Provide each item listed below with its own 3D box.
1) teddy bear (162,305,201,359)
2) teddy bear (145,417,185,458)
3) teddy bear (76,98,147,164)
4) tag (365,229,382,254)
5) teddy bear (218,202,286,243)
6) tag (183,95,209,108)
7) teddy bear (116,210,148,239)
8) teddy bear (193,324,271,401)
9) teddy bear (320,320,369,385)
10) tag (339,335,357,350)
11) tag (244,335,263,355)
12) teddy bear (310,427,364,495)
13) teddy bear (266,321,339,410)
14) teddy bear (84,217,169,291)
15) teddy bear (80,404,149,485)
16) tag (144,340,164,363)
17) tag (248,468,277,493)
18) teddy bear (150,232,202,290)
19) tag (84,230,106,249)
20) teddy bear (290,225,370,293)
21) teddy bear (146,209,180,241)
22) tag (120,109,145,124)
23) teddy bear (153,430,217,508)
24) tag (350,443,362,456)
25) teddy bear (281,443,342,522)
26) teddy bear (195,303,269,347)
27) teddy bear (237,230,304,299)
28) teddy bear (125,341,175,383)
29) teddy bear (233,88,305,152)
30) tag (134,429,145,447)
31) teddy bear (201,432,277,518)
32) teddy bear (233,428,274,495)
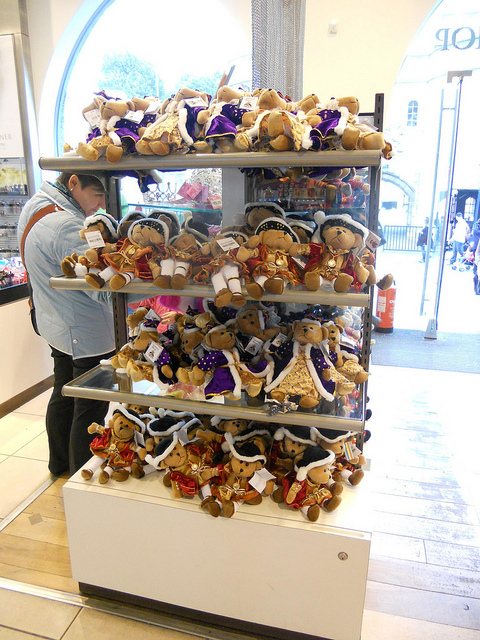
[{"bbox_3d":[-0.184,0.044,1.541,0.075,0.146,0.115,15,-28,-16],"label":"teddy bear"},{"bbox_3d":[-0.255,0.393,1.623,0.126,0.114,0.114,3,-16,7],"label":"teddy bear"},{"bbox_3d":[-0.329,-0.512,1.354,0.220,0.073,0.240,-1,41,13],"label":"teddy bear"},{"bbox_3d":[0.365,-0.217,1.340,0.042,0.054,0.018,36,-19,-11],"label":"tag"},{"bbox_3d":[0.038,-0.275,1.408,0.127,0.074,0.172,3,11,27],"label":"teddy bear"},{"bbox_3d":[-0.120,-0.581,1.324,0.056,0.057,0.014,-3,-27,-25],"label":"tag"},{"bbox_3d":[-0.335,-0.290,1.497,0.094,0.092,0.069,6,26,-22],"label":"teddy bear"},{"bbox_3d":[-0.023,0.124,1.418,0.229,0.235,0.123,-6,-15,-29],"label":"teddy bear"},{"bbox_3d":[0.311,0.090,1.468,0.181,0.202,0.142,2,13,16],"label":"teddy bear"},{"bbox_3d":[0.333,0.069,1.526,0.052,0.013,0.037,31,35,8],"label":"tag"},{"bbox_3d":[0.036,0.074,1.454,0.050,0.054,0.050,11,21,31],"label":"tag"},{"bbox_3d":[0.312,0.422,1.524,0.140,0.179,0.157,-6,13,-28],"label":"teddy bear"},{"bbox_3d":[0.176,0.139,1.381,0.198,0.227,0.125,10,-21,11],"label":"teddy bear"},{"bbox_3d":[-0.316,-0.185,1.366,0.224,0.186,0.119,-1,18,-2],"label":"teddy bear"},{"bbox_3d":[-0.411,0.413,1.632,0.215,0.123,0.277,13,38,3],"label":"teddy bear"},{"bbox_3d":[-0.258,0.093,1.451,0.057,0.055,0.015,30,3,22],"label":"tag"},{"bbox_3d":[0.059,0.476,1.455,0.053,0.020,0.070,18,31,28],"label":"tag"},{"bbox_3d":[-0.190,-0.166,1.347,0.147,0.164,0.065,8,-31,-3],"label":"teddy bear"},{"bbox_3d":[-0.415,-0.235,1.404,0.051,0.054,0.006,-19,19,6],"label":"tag"},{"bbox_3d":[0.230,-0.165,1.276,0.223,0.182,0.130,18,18,10],"label":"teddy bear"},{"bbox_3d":[-0.226,-0.276,1.417,0.093,0.113,0.043,2,-4,-8],"label":"teddy bear"},{"bbox_3d":[-0.288,-0.552,1.317,0.046,0.044,0.011,13,-15,-1],"label":"tag"},{"bbox_3d":[-0.160,0.469,1.509,0.189,0.207,0.090,-16,-19,-15],"label":"teddy bear"},{"bbox_3d":[0.375,0.421,1.585,0.011,0.036,0.040,-33,17,40],"label":"tag"},{"bbox_3d":[0.215,0.478,1.443,0.171,0.190,0.146,-3,14,-26],"label":"teddy bear"},{"bbox_3d":[-0.026,-0.004,1.522,0.257,0.098,0.183,14,19,-6],"label":"teddy bear"},{"bbox_3d":[0.069,-0.158,1.288,0.160,0.197,0.085,4,-30,2],"label":"teddy bear"},{"bbox_3d":[-0.283,0.122,1.494,0.147,0.067,0.118,-36,47,-28],"label":"teddy bear"},{"bbox_3d":[0.074,-0.516,1.249,0.180,0.162,0.257,0,18,2],"label":"teddy bear"},{"bbox_3d":[-0.341,0.403,1.651,0.047,0.044,0.016,1,-2,-3],"label":"tag"},{"bbox_3d":[-0.012,0.474,1.458,0.213,0.215,0.153,6,20,-6],"label":"teddy bear"},{"bbox_3d":[0.046,0.426,1.479,0.175,0.164,0.070,9,-9,4],"label":"teddy bear"}]
